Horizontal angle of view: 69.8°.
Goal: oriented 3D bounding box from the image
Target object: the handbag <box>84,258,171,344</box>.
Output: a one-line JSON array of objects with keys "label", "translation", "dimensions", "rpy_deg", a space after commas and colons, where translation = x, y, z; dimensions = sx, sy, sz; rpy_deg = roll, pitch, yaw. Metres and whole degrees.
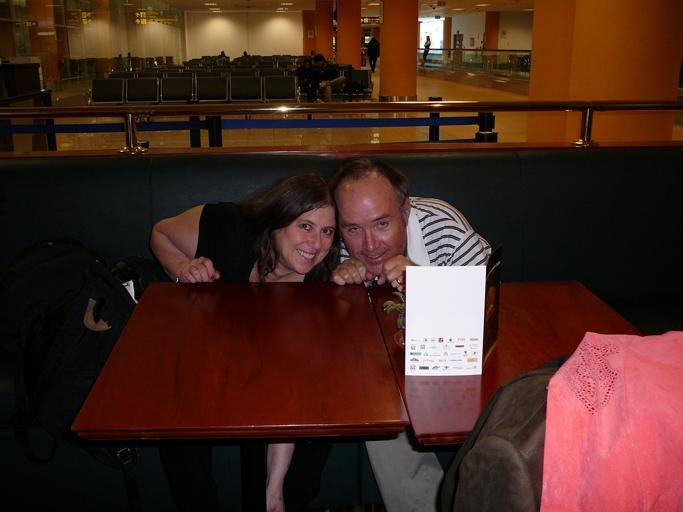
[{"label": "handbag", "translation": [-0.793, 0.147, 1.832], "dimensions": [0.105, 0.283, 0.265], "rpy_deg": [17, -15, -41]}]

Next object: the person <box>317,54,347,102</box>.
[{"label": "person", "translation": [-0.121, -3.636, 10.059], "dimensions": [0.580, 0.806, 0.825], "rpy_deg": [5, 20, -7]}]

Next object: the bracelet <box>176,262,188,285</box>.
[{"label": "bracelet", "translation": [-0.553, 0.058, 1.685], "dimensions": [0.026, 0.060, 0.080], "rpy_deg": [4, 29, -17]}]
